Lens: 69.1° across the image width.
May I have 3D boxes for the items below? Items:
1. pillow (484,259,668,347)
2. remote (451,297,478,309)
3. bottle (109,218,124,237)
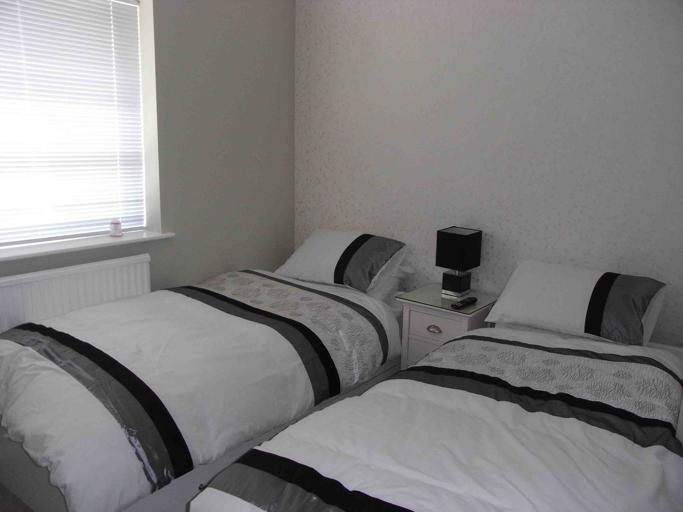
[{"bbox_3d":[1.286,0.252,2.747,0.615,0.210,0.539,9,44,34],"label":"pillow"},{"bbox_3d":[0.785,0.296,3.160,0.218,0.030,0.071,-13,21,-43],"label":"remote"},{"bbox_3d":[-1.539,-0.191,3.331,0.105,0.123,0.105,-4,11,-30],"label":"bottle"}]
